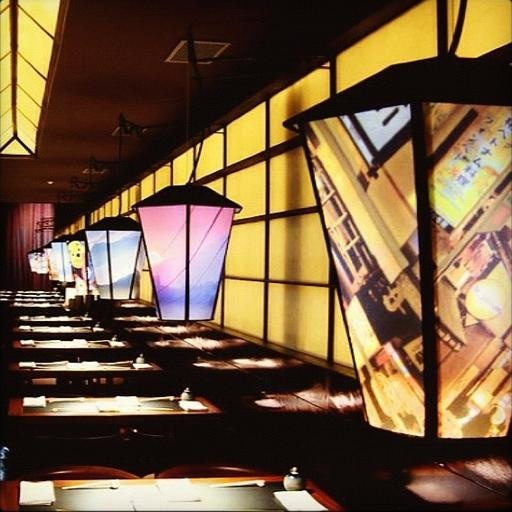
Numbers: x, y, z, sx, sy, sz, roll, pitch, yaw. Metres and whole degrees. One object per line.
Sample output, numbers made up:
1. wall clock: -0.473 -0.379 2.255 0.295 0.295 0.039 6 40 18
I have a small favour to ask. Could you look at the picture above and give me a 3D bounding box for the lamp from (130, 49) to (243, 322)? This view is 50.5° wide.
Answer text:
1. lamp: -0.303 -0.082 2.414 0.468 0.766 0.420 0 -11 -11
